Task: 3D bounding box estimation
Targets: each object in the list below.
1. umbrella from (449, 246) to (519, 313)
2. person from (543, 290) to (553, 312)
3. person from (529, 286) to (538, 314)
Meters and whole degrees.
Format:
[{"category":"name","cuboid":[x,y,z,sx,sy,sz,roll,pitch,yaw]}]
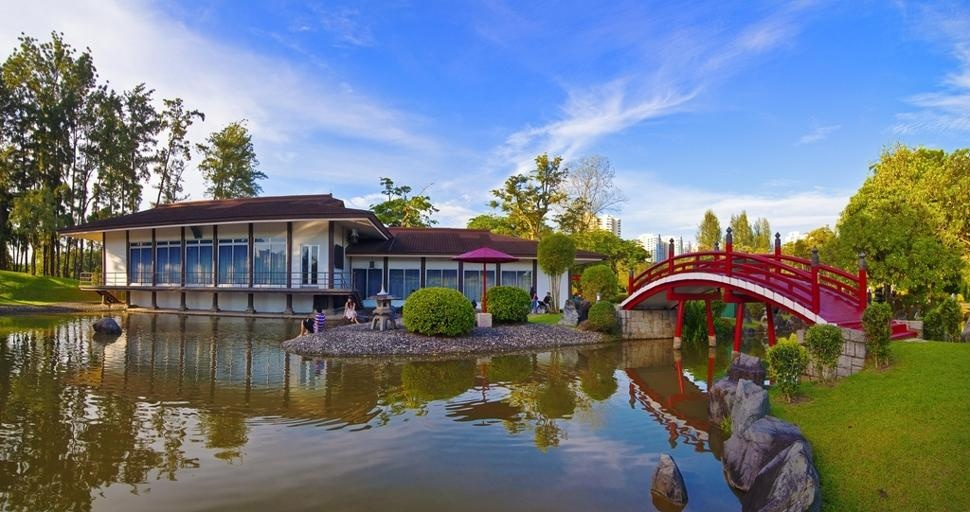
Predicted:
[{"category":"umbrella","cuboid":[0.188,1.644,40.190,4.778,3.784,4.369,1,4,14]},{"category":"person","cuboid":[4.592,3.338,45.942,0.625,1.427,1.977,0,-6,6]},{"category":"person","cuboid":[3.601,3.207,46.634,0.516,1.943,1.418,0,-5,6]}]
